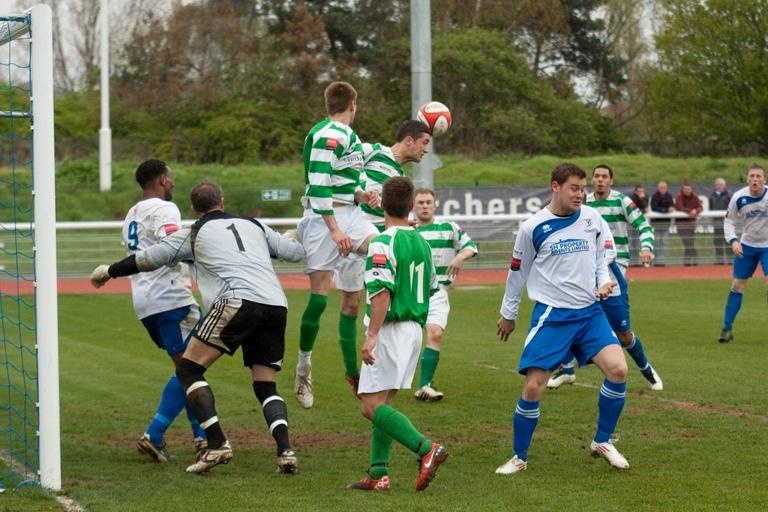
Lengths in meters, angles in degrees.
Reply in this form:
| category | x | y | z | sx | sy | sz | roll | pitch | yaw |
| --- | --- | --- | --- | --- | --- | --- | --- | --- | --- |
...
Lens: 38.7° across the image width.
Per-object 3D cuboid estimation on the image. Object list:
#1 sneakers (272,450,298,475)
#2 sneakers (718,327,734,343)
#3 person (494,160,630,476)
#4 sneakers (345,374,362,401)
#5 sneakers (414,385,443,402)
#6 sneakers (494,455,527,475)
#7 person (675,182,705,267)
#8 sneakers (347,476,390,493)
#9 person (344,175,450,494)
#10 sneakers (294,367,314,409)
| category | x | y | z | sx | sy | sz | roll | pitch | yaw |
| --- | --- | --- | --- | --- | --- | --- | --- | --- | --- |
| sneakers | -1.180 | 2.479 | 13.162 | 0.179 | 0.205 | 0.371 | 0 | 1 | -2 |
| sneakers | 5.483 | 1.269 | 17.556 | 0.227 | 0.188 | 0.339 | 3 | 4 | 18 |
| person | 2.183 | 0.747 | 13.399 | 1.527 | 3.749 | 0.607 | 2 | 4 | 0 |
| sneakers | -0.412 | 1.790 | 14.597 | 0.126 | 0.416 | 0.239 | 5 | 25 | 32 |
| sneakers | 0.594 | 1.913 | 15.187 | 0.432 | 0.184 | 0.169 | -2 | 0 | 22 |
| sneakers | 1.543 | 2.544 | 13.305 | 0.414 | 0.171 | 0.167 | -9 | 29 | -11 |
| person | 6.898 | -0.707 | 24.935 | 0.591 | 1.792 | 0.871 | 3 | 4 | 14 |
| sneakers | -0.176 | 2.704 | 12.941 | 0.517 | 0.198 | 0.178 | 3 | -4 | 4 |
| person | 0.148 | 1.200 | 12.987 | 0.998 | 3.117 | 0.664 | 2 | 4 | -1 |
| sneakers | -1.084 | 1.738 | 14.583 | 0.228 | 0.563 | 0.251 | -6 | 10 | -6 |
